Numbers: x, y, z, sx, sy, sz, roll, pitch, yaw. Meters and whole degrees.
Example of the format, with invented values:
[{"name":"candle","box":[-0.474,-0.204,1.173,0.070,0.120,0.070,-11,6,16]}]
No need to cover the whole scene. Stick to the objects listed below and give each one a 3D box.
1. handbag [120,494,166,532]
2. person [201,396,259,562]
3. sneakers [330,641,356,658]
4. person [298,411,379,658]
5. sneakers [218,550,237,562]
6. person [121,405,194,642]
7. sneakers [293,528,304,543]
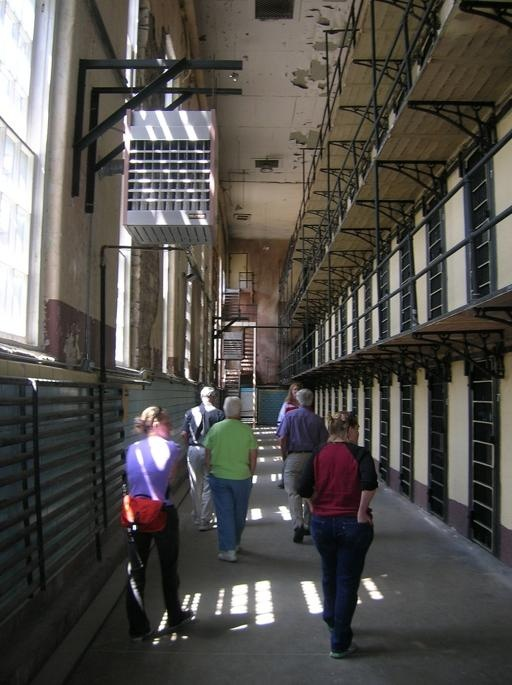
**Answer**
[{"name":"handbag","box":[-0.636,0.990,3.061,0.215,0.198,0.089,4,-4,4]},{"name":"person","box":[-0.236,1.272,4.993,0.473,1.472,0.241,2,-7,-8]},{"name":"sneakers","box":[0.489,1.719,3.047,0.066,0.078,0.173,0,-2,44]},{"name":"person","box":[0.520,1.094,3.163,0.555,1.337,0.437,-4,-9,36]},{"name":"sneakers","box":[-0.260,1.962,4.945,0.071,0.088,0.195,4,-5,-34]},{"name":"person","box":[-0.617,1.083,3.249,0.357,1.358,0.434,2,-7,-9]},{"name":"sneakers","box":[0.441,2.055,5.680,0.065,0.199,0.076,2,25,1]}]
